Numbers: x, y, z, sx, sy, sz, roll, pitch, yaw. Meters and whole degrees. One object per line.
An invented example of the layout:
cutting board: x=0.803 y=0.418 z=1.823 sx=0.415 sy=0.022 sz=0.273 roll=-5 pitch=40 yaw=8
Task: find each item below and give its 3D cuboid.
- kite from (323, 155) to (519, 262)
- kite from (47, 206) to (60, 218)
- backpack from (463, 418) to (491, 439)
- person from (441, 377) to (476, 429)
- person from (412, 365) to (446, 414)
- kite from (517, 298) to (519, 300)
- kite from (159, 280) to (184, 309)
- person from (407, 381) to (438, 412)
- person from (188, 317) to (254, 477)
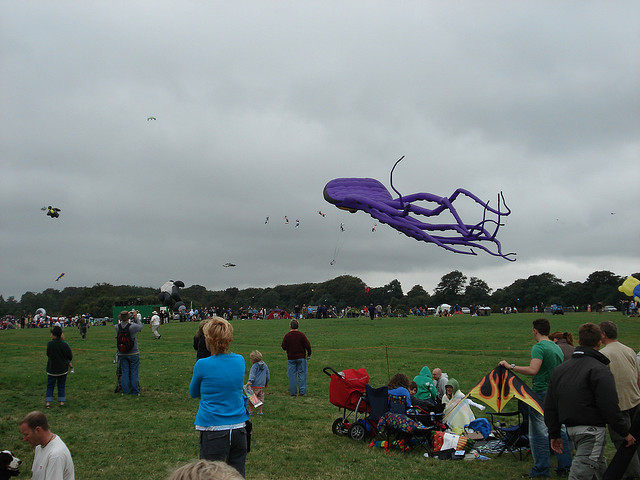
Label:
kite: x=3.623 y=-1.518 z=29.134 sx=5.902 sy=2.647 sz=3.806 roll=39 pitch=26 yaw=29
kite: x=-13.533 y=-1.353 z=33.385 sx=0.462 sy=0.509 sz=0.890 roll=6 pitch=-8 yaw=-27
backpack: x=4.241 y=4.976 z=17.862 sx=0.616 sy=0.410 sz=0.438 roll=21 pitch=-30 yaw=45
person: x=3.820 y=4.568 z=18.405 sx=0.886 sy=1.151 sz=1.900 roll=1 pitch=-7 yaw=10
person: x=3.053 y=4.382 z=18.788 sx=0.723 sy=1.501 sz=0.672 roll=5 pitch=-9 yaw=-41
kite: x=45.282 y=13.651 z=151.373 sx=0.410 sy=0.818 sz=0.433 roll=-2 pitch=7 yaw=6
kite: x=-14.582 y=5.128 z=63.874 sx=1.878 sy=2.064 sz=2.513 roll=4 pitch=-7 yaw=-14
person: x=2.664 y=4.332 z=18.153 sx=0.754 sy=0.703 sz=0.908 roll=7 pitch=-8 yaw=-31
person: x=-1.919 y=2.969 z=12.661 sx=1.102 sy=2.897 sz=0.364 roll=3 pitch=-7 yaw=-9
